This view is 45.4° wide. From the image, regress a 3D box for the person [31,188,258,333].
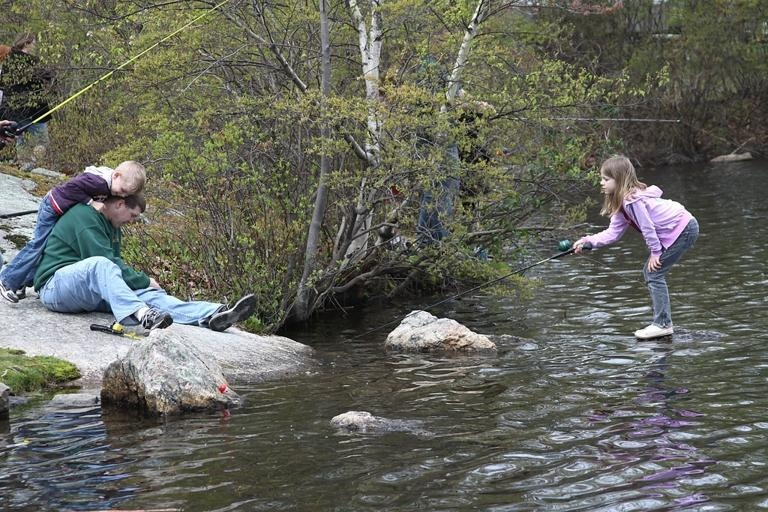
[{"bbox_3d":[-2.895,0.015,10.722,2.757,1.264,1.194,14,7,27],"label":"person"}]
